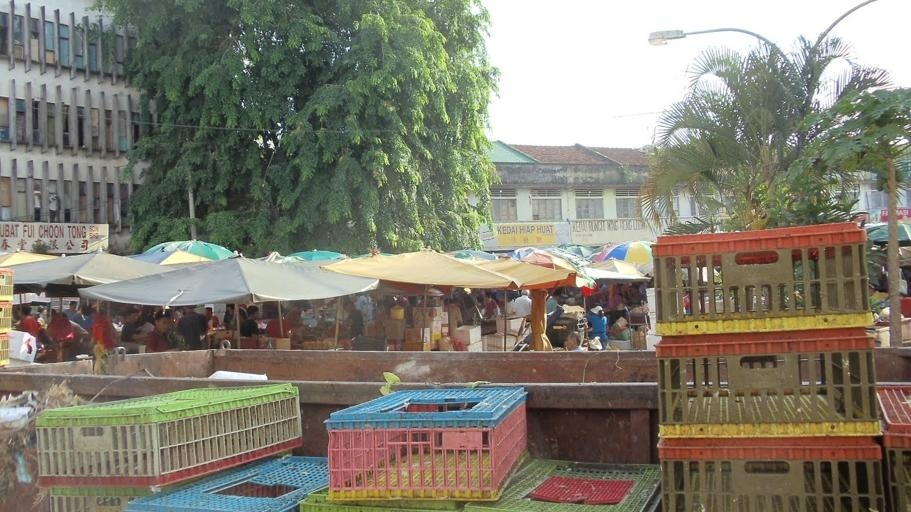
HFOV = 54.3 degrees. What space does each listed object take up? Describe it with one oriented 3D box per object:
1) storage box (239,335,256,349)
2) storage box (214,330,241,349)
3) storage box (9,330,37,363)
[{"bbox_3d":[-5.451,2.263,23.164,0.511,0.177,0.494,0,-2,-6],"label":"storage box"},{"bbox_3d":[-6.178,2.270,23.972,0.777,0.472,0.760,1,-2,3],"label":"storage box"},{"bbox_3d":[-8.999,1.895,18.445,0.376,0.674,0.584,-4,-4,41],"label":"storage box"}]
